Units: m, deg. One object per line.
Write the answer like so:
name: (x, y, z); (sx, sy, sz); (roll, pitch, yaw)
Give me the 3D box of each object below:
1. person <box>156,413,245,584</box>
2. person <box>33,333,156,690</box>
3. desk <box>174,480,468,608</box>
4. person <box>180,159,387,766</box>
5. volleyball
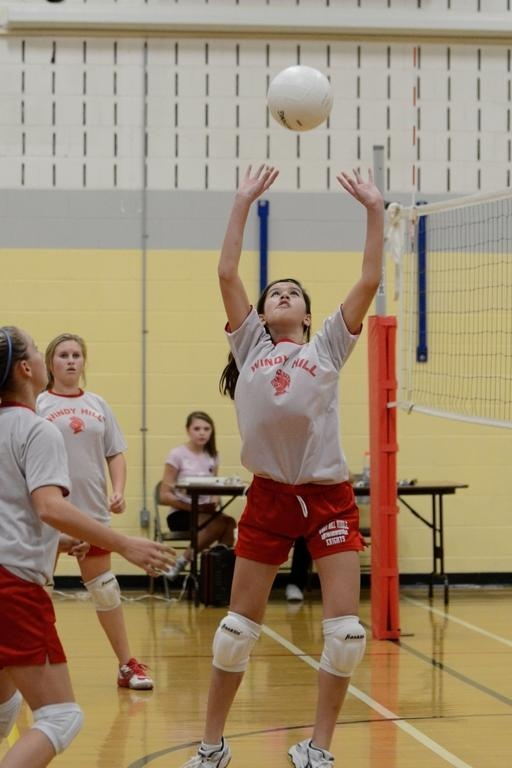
person: (-0.427, 0.835, 7.941); (0.528, 1.231, 0.558); (1, -3, -27)
person: (-0.861, 0.600, 5.196); (0.575, 1.738, 0.631); (2, 4, -28)
desk: (0.453, 1.018, 8.410); (2.336, 1.627, 1.364); (1, -5, -10)
person: (0.113, 0.263, 4.069); (0.721, 2.301, 0.792); (5, 2, -7)
volleyball: (0.192, -1.262, 4.675); (0.317, 0.274, 0.292); (-6, 3, -3)
